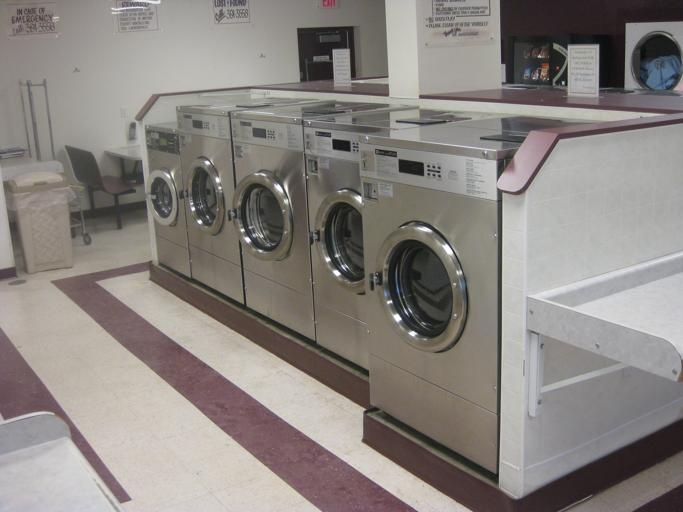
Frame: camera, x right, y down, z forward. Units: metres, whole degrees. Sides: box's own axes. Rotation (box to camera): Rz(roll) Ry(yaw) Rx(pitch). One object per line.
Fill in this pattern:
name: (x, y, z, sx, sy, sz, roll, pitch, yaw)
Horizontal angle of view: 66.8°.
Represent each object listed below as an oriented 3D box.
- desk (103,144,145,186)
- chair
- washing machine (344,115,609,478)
desk: (-3.077, -1.280, 7.243, 0.361, 0.343, 0.653, -12, 18, -37)
chair: (-3.277, -0.940, 7.041, 0.626, 1.137, 1.060, -15, 21, -35)
washing machine: (0.460, 0.187, 2.480, 0.284, 1.464, 0.892, -16, 22, -38)
